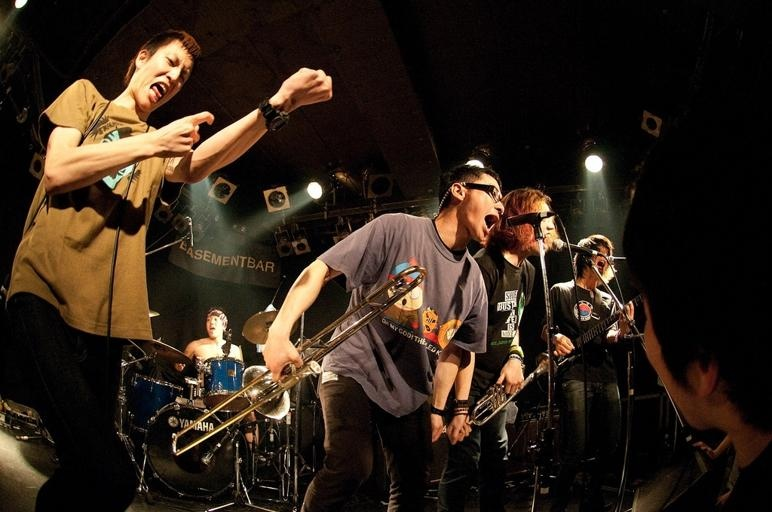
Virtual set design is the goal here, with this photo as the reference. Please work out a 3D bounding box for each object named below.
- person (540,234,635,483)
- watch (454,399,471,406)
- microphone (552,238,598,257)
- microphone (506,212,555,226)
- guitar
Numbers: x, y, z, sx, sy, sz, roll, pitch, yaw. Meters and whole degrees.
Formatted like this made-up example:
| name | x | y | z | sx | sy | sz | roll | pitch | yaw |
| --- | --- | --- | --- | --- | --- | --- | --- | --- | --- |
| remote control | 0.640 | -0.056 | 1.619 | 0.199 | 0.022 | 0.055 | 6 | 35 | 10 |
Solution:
| name | x | y | z | sx | sy | sz | roll | pitch | yaw |
| --- | --- | --- | --- | --- | --- | --- | --- | --- | --- |
| person | 1.778 | 0.928 | 4.908 | 0.822 | 2.261 | 0.793 | 3 | 10 | 10 |
| watch | 0.510 | 0.994 | 3.783 | 0.062 | 0.044 | 0.065 | 7 | -12 | -7 |
| microphone | 1.672 | -0.080 | 4.885 | 0.575 | 0.114 | 0.109 | 15 | 10 | -34 |
| microphone | 1.071 | -0.267 | 4.100 | 0.304 | 0.099 | 0.081 | -10 | 6 | 1 |
| guitar | 1.796 | 0.762 | 4.871 | 1.191 | 0.398 | 0.173 | -34 | -27 | 26 |
